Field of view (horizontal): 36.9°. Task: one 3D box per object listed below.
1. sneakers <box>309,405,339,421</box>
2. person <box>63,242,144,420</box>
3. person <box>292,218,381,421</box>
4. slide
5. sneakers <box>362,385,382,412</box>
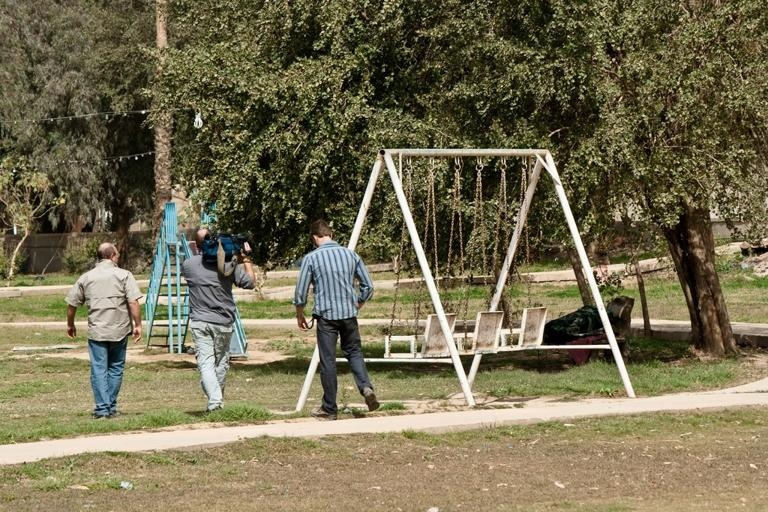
[{"bbox_3d":[-1.013,2.653,19.373,0.458,0.220,0.185,6,3,29],"label":"sneakers"},{"bbox_3d":[-4.862,1.286,19.899,1.028,3.035,1.382,0,0,-18],"label":"person"},{"bbox_3d":[-0.798,1.071,19.514,1.270,3.355,1.139,0,-10,-11],"label":"person"},{"bbox_3d":[-3.923,1.455,27.132,1.833,3.994,1.760,2,-1,-11],"label":"slide"},{"bbox_3d":[-0.194,2.453,19.445,0.192,0.226,0.508,-16,-41,4],"label":"sneakers"}]
